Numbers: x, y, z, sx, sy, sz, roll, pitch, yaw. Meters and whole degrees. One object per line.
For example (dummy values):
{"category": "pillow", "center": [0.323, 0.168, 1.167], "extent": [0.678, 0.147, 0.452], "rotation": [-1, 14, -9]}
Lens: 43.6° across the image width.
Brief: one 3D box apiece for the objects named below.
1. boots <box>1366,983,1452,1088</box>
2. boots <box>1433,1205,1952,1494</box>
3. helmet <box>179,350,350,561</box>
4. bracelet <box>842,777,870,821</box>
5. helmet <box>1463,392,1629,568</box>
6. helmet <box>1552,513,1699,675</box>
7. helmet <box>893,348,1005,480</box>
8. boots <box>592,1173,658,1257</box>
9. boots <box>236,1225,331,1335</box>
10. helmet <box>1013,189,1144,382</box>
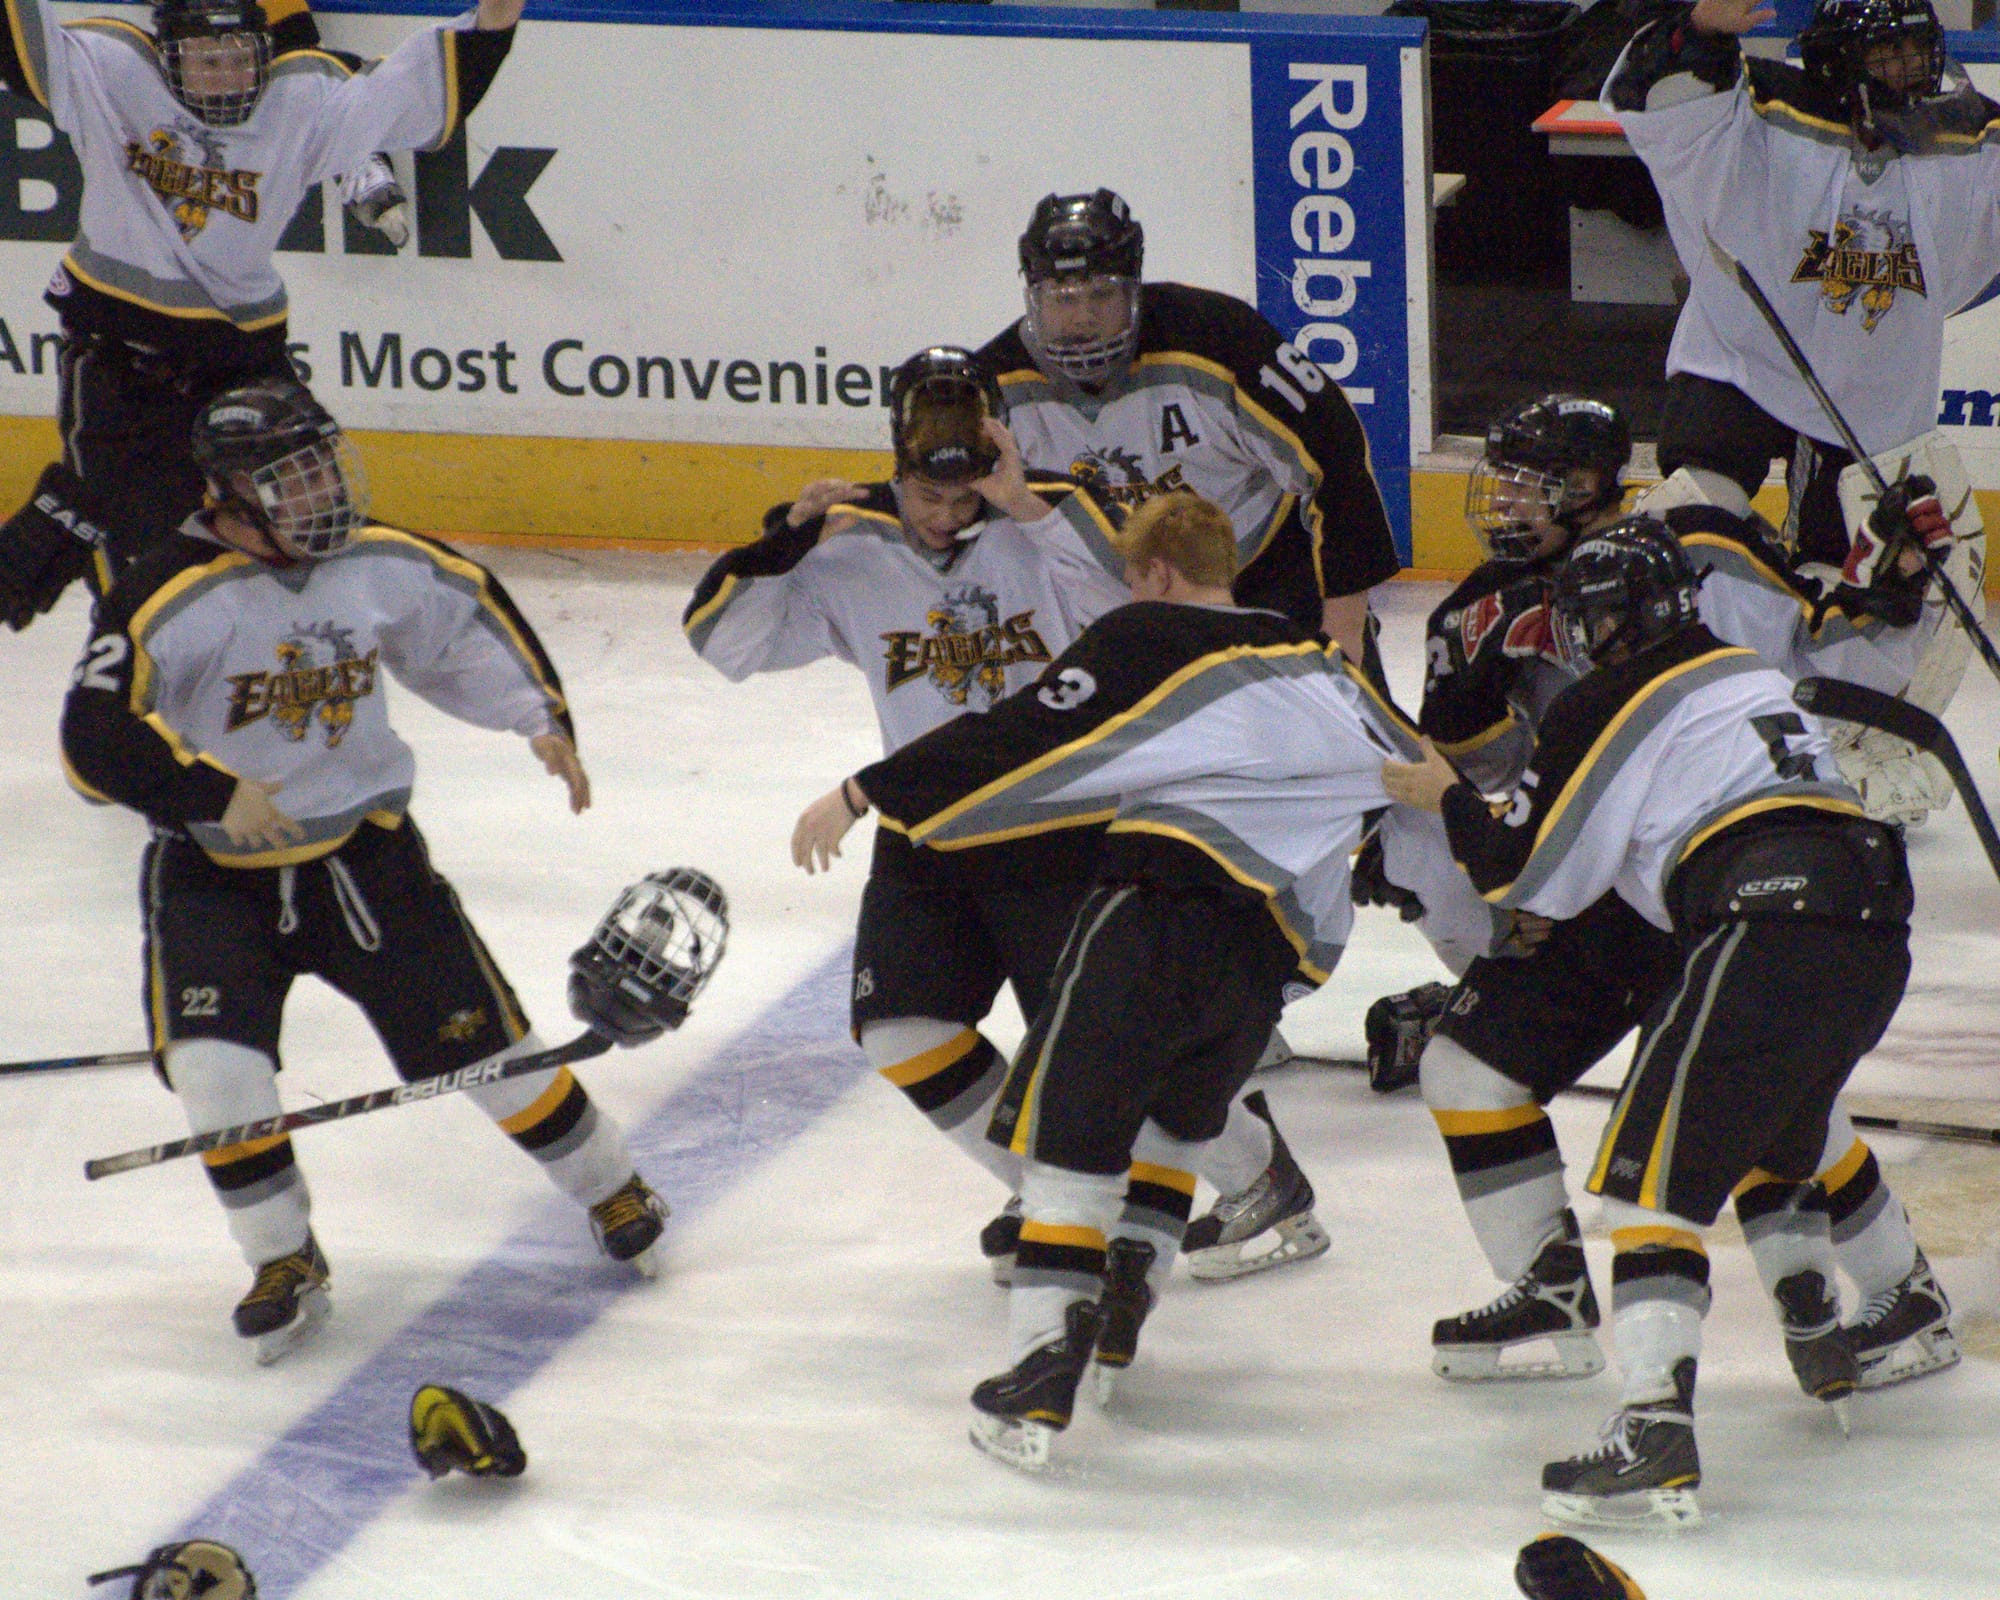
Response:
{"category": "boots", "center": [0.850, 0.506, 5.214], "extent": [0.221, 0.291, 0.101], "rotation": [-12, 50, 11]}
{"category": "boots", "center": [0.953, 0.739, 3.741], "extent": [0.480, 0.309, 0.625], "rotation": [3, 9, 30]}
{"category": "helmet", "center": [-1.251, -0.563, 4.291], "extent": [0.240, 0.282, 0.326], "rotation": [-8, 21, -17]}
{"category": "bracelet", "center": [-0.235, -0.003, 4.145], "extent": [0.028, 0.061, 0.047], "rotation": [-32, 41, -7]}
{"category": "helmet", "center": [0.971, -0.566, 4.408], "extent": [0.322, 0.273, 0.256], "rotation": [5, 20, 15]}
{"category": "helmet", "center": [0.987, -0.325, 3.890], "extent": [0.213, 0.213, 0.249], "rotation": [-20, 19, -32]}
{"category": "helmet", "center": [-0.105, -0.645, 4.315], "extent": [0.190, 0.212, 0.225], "rotation": [-1, -5, -1]}
{"category": "boots", "center": [-0.683, 0.764, 4.543], "extent": [0.068, 0.079, 0.179], "rotation": [-38, -3, 2]}
{"category": "boots", "center": [-1.225, 0.828, 4.329], "extent": [0.093, 0.095, 0.240], "rotation": [0, 15, 11]}
{"category": "helmet", "center": [0.170, -0.947, 4.584], "extent": [0.267, 0.317, 0.329], "rotation": [-2, 30, 9]}
